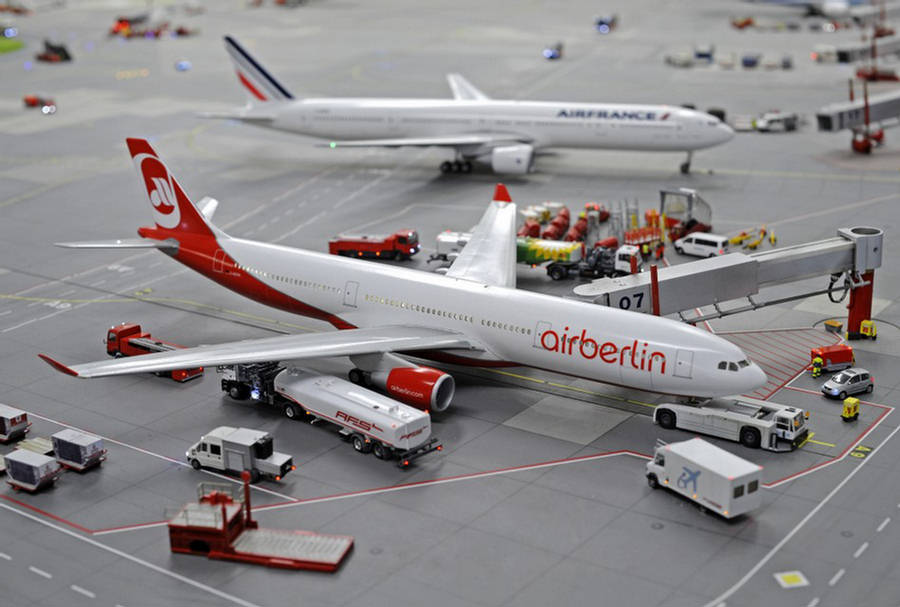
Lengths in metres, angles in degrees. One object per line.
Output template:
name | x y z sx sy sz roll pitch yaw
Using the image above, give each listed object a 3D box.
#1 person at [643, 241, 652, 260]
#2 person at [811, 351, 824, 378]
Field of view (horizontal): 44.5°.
person | 14.847 -4.030 83.113 0.886 1.075 1.119 -5 24 9
person | 22.566 3.799 67.785 0.913 1.465 0.810 8 32 31
